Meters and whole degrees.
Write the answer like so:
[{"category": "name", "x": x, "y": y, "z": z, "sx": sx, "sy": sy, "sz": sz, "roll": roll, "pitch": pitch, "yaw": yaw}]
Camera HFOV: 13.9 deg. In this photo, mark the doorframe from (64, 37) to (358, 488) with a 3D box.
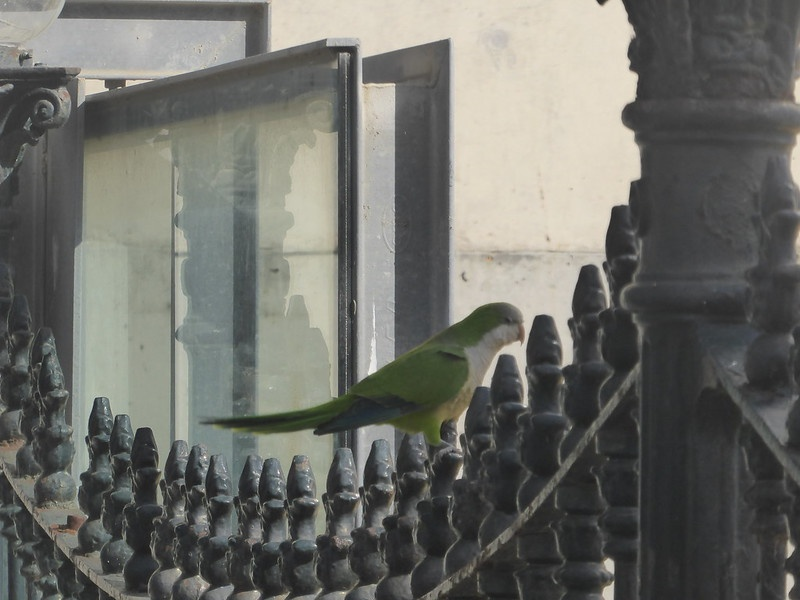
[{"category": "doorframe", "x": -0.610, "y": -0.076, "z": 10.972, "sx": 1.582, "sy": 1.686, "sz": 0.082, "roll": 4, "pitch": 3, "yaw": 45}]
